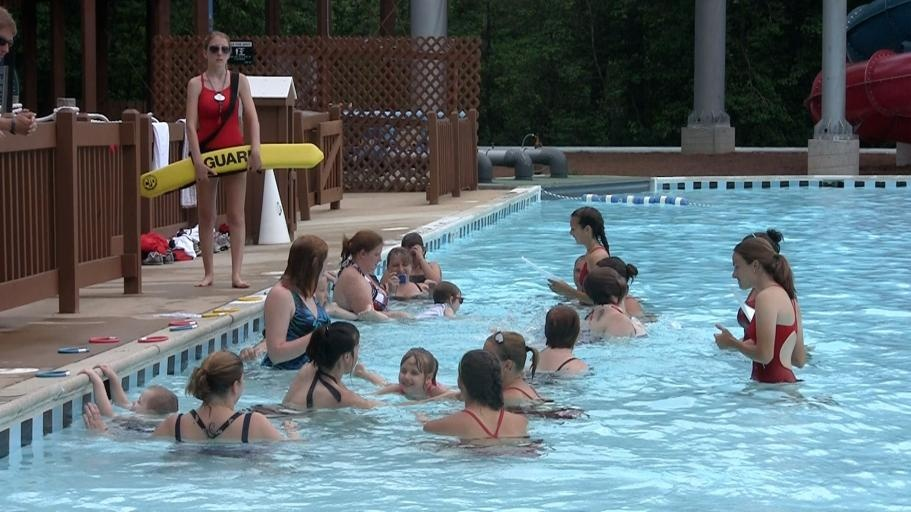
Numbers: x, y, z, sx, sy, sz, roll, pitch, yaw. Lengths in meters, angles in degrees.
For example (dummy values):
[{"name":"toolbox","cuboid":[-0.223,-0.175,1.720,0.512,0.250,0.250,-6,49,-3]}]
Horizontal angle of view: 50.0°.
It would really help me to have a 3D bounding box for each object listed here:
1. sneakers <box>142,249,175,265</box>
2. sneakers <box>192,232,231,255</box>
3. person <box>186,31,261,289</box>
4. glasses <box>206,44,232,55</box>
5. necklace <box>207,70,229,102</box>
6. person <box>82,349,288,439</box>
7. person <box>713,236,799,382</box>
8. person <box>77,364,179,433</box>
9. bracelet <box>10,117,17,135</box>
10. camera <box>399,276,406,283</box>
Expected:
[{"name":"sneakers","cuboid":[-3.623,0.028,12.006,0.330,0.134,0.147,1,-1,-16]},{"name":"sneakers","cuboid":[-3.188,-0.162,12.849,0.233,0.263,0.631,-2,-6,7]},{"name":"person","cuboid":[-2.571,-1.074,10.982,0.785,2.795,1.070,-3,7,-11]},{"name":"glasses","cuboid":[-2.523,-2.212,10.437,0.212,0.089,0.093,-5,7,-34]},{"name":"necklace","cuboid":[-2.576,-1.844,10.568,0.350,0.390,0.027,-3,-3,-13]},{"name":"person","cuboid":[-1.961,1.192,8.281,1.188,0.817,0.475,-2,6,-11]},{"name":"person","cuboid":[2.899,0.528,9.279,0.908,1.420,0.532,-1,6,2]},{"name":"person","cuboid":[-2.852,1.323,8.606,0.864,0.497,0.566,2,13,-8]},{"name":"bracelet","cuboid":[-4.091,-1.211,9.070,0.076,0.099,0.038,5,0,43]},{"name":"camera","cuboid":[-0.608,0.280,11.419,0.081,0.059,0.082,0,3,22]}]
